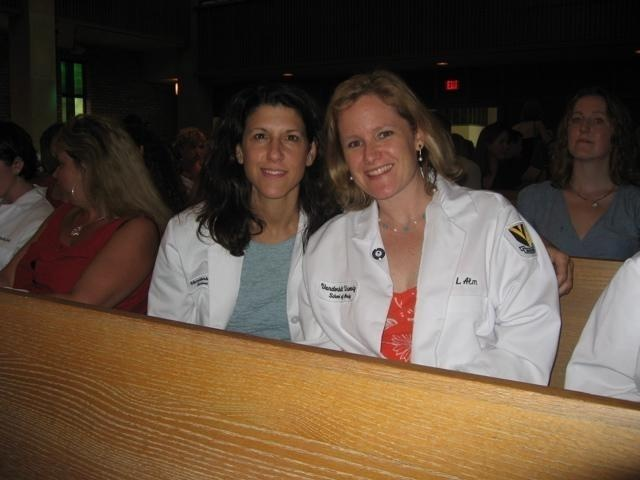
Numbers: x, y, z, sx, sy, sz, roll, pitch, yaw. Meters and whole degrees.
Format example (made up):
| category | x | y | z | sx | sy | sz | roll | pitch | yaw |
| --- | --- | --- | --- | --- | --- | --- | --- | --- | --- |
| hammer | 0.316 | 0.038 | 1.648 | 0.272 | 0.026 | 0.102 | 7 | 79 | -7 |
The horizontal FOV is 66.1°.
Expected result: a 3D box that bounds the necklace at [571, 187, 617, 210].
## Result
| category | x | y | z | sx | sy | sz | roll | pitch | yaw |
| --- | --- | --- | --- | --- | --- | --- | --- | --- | --- |
| necklace | 1.591 | -0.254 | 2.884 | 0.228 | 0.114 | 0.092 | 6 | 9 | 29 |
